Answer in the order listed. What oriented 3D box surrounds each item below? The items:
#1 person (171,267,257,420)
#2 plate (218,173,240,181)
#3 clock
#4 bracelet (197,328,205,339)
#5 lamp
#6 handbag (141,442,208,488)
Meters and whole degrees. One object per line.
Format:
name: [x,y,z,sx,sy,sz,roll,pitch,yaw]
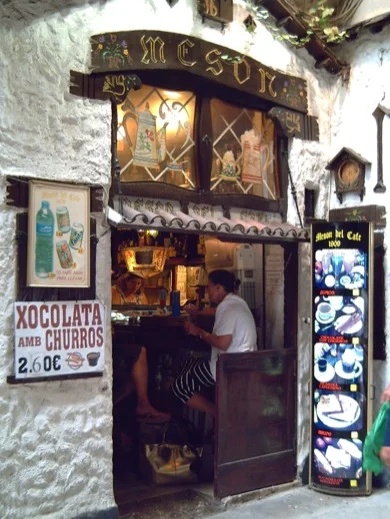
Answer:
person: [0.198,0.777,4.746,0.711,1.160,0.799,-1,-1,-38]
plate: [0.322,-0.764,4.602,0.251,0.056,0.008,-2,-1,-39]
clock: [1.595,-0.892,5.171,0.453,0.565,0.212,-2,-1,32]
bracelet: [0.058,0.686,4.516,0.063,0.104,0.092,-1,1,3]
lamp: [-0.843,-0.103,7.844,0.729,0.887,0.743,2,1,40]
handbag: [-0.199,1.826,4.563,0.657,0.465,0.342,3,-8,-13]
